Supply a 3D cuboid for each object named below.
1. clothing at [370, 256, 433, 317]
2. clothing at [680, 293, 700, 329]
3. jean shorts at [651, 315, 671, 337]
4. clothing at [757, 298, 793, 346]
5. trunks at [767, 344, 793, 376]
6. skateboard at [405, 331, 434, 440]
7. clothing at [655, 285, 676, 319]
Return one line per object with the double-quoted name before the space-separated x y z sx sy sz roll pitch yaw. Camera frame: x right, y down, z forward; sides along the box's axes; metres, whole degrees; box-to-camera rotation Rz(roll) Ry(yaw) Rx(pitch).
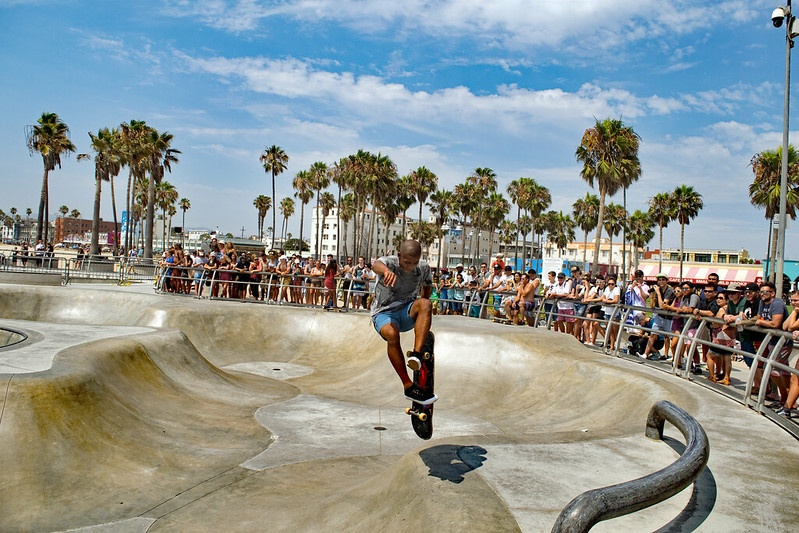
"clothing" 0.033 0.293 8.022 0.646 0.616 0.468 19 5 -35
"clothing" 5.967 0.929 12.040 0.203 0.653 0.276 3 1 -39
"jean shorts" 5.836 1.338 12.915 0.480 0.619 0.240 -9 -16 41
"clothing" 6.460 0.981 9.992 0.392 0.731 0.501 17 -27 12
"trunks" 6.115 1.525 9.317 0.400 0.508 0.275 -20 27 -18
"skateboard" 0.303 1.591 7.543 0.292 1.379 0.531 0 8 42
"clothing" 5.981 0.825 13.031 0.461 0.761 0.364 31 -29 -12
